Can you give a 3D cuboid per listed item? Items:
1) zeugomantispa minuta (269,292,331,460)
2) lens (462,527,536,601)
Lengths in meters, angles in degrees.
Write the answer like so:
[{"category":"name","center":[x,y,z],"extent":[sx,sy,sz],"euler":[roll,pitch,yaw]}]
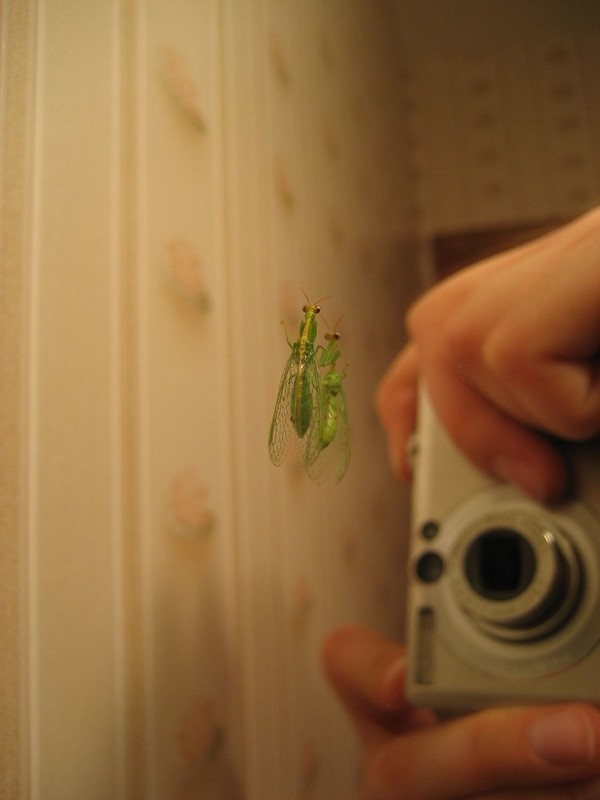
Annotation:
[{"category":"zeugomantispa minuta","center":[-0.007,-0.019,0.797],"extent":[0.042,0.114,0.044],"euler":[-22,31,-39]},{"category":"lens","center":[0.112,0.094,0.599],"extent":[0.040,0.040,0.010],"euler":[-2,-2,20]}]
